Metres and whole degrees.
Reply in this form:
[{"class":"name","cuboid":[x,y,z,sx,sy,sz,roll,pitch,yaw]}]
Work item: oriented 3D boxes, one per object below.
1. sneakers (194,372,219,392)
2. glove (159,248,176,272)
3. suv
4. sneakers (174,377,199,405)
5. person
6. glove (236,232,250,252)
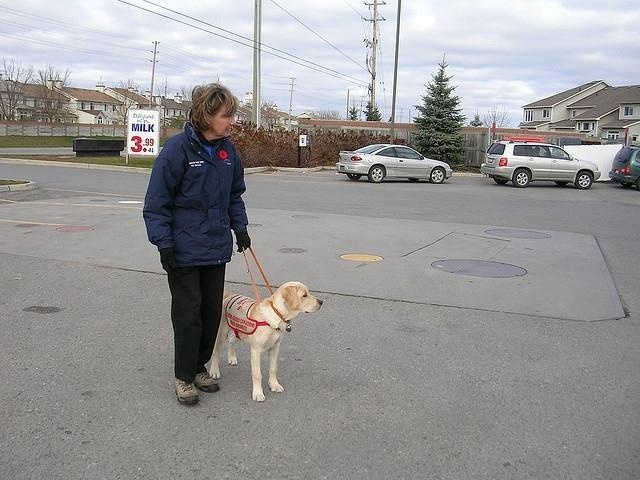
[{"class":"sneakers","cuboid":[-0.952,1.172,3.766,0.233,0.100,0.105,3,9,44]},{"class":"glove","cuboid":[-1.118,0.152,3.339,0.119,0.163,0.065,-2,4,32]},{"class":"suv","cuboid":[11.446,-4.133,24.265,5.618,2.352,2.611,-2,12,-7]},{"class":"sneakers","cuboid":[-1.056,1.190,3.563,0.102,0.122,0.263,-3,1,-29]},{"class":"person","cuboid":[-0.928,0.040,3.562,0.403,2.432,0.840,12,16,40]},{"class":"glove","cuboid":[-0.666,0.018,3.848,0.118,0.165,0.069,-4,6,-31]}]
